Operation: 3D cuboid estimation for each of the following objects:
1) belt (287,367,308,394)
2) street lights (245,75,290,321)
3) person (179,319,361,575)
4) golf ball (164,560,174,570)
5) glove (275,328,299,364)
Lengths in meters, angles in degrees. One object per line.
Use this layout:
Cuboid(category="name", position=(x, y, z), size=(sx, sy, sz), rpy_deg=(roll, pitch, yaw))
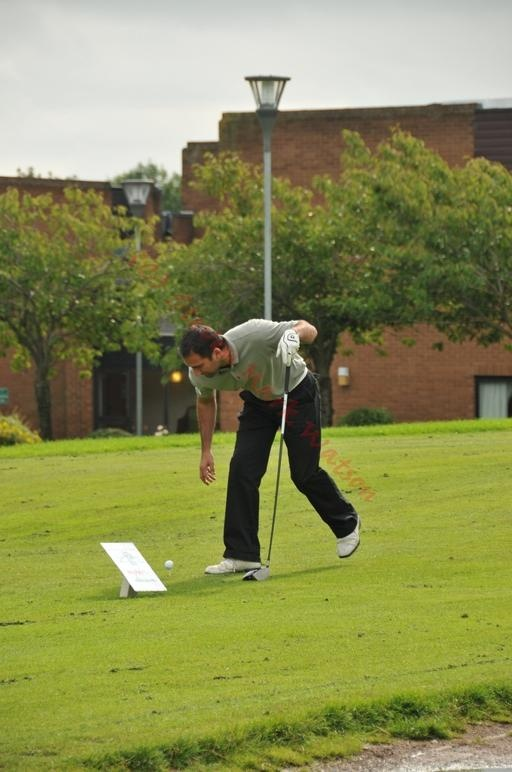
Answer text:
Cuboid(category="belt", position=(0.228, -0.038, 10.575), size=(0.061, 0.115, 0.090), rpy_deg=(32, -37, -8))
Cuboid(category="street lights", position=(0.120, -2.871, 24.388), size=(0.492, 4.540, 0.431), rpy_deg=(-2, 6, 0))
Cuboid(category="person", position=(0.085, 0.345, 10.566), size=(0.945, 1.470, 0.881), rpy_deg=(-2, 5, 3))
Cuboid(category="golf ball", position=(-0.525, 1.059, 11.055), size=(0.047, 0.062, 0.048), rpy_deg=(3, 8, 0))
Cuboid(category="glove", position=(0.183, -0.223, 10.223), size=(0.122, 0.188, 0.063), rpy_deg=(-1, -8, 16))
